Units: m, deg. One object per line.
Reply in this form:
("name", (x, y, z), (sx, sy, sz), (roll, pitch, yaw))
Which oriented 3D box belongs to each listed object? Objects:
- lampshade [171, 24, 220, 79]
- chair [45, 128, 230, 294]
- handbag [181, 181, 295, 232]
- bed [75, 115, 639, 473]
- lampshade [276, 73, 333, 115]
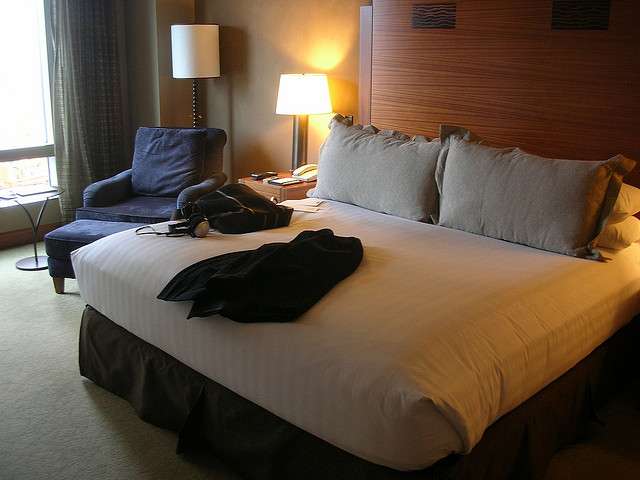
("lampshade", (-1.194, -1.851, 5.012), (0.542, 0.508, 0.481), (-2, 21, 2))
("chair", (-1.452, -0.290, 4.335), (1.170, 1.207, 1.406), (4, 24, 11))
("handbag", (-0.422, -0.182, 3.018), (0.519, 0.132, 0.380), (-11, 23, -34))
("bed", (0.223, 0.194, 2.634), (2.449, 1.409, 2.057), (-12, 22, -32))
("lampshade", (-0.166, -1.180, 4.193), (0.398, 0.382, 0.383), (-11, 19, -36))
